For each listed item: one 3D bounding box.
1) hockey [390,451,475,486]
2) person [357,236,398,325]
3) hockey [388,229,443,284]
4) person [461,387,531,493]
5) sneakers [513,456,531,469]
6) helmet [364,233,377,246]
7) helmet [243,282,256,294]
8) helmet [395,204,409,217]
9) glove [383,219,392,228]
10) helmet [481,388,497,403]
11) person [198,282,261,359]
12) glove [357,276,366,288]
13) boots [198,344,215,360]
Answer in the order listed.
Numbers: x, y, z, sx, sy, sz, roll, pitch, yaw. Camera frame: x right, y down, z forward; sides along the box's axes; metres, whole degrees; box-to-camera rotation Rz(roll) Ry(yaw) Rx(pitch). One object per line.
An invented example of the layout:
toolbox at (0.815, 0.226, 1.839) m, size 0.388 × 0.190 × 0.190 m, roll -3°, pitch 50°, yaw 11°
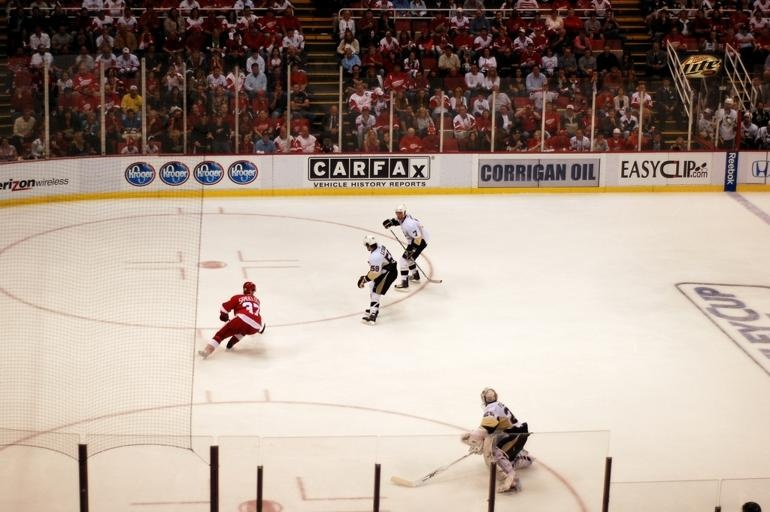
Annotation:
hockey at (0.670, 2.605, 10.863) m, size 0.241 × 0.236 × 1.426 m, roll -30°, pitch -17°, yaw 38°
person at (-0.128, 0.393, 16.037) m, size 0.695 × 1.501 × 0.963 m, roll -2°, pitch 4°, yaw -1°
hockey at (0.623, 0.051, 17.739) m, size 0.268 × 0.348 × 2.501 m, roll -23°, pitch -33°, yaw 28°
person at (1.274, 2.360, 11.412) m, size 1.112 × 1.405 × 1.484 m, roll -3°, pitch -14°, yaw 14°
sneakers at (1.766, 2.636, 11.287) m, size 0.252 × 0.124 × 0.095 m, roll -3°, pitch 6°, yaw 6°
helmet at (-0.252, -0.267, 15.730) m, size 0.209 × 0.146 × 0.245 m, roll -2°, pitch 3°, yaw -3°
helmet at (-2.269, 0.541, 14.834) m, size 0.197 × 0.232 × 0.212 m, roll 0°, pitch -3°, yaw -4°
helmet at (0.324, -0.856, 17.077) m, size 0.179 × 0.247 × 0.397 m, roll -2°, pitch 3°, yaw 6°
glove at (0.052, -0.630, 17.087) m, size 0.172 × 0.158 × 0.206 m, roll -1°, pitch -6°, yaw 1°
helmet at (1.359, 1.821, 11.640) m, size 0.170 × 0.208 × 0.194 m, roll -4°, pitch 12°, yaw -1°
person at (-2.428, 1.164, 14.594) m, size 0.519 × 1.585 × 0.832 m, roll -12°, pitch -38°, yaw 33°
glove at (-0.390, 0.462, 15.943) m, size 0.151 × 0.071 × 0.203 m, roll 14°, pitch 39°, yaw 34°
boots at (-2.898, 1.528, 14.413) m, size 0.247 × 0.252 × 0.277 m, roll -2°, pitch 3°, yaw -11°
